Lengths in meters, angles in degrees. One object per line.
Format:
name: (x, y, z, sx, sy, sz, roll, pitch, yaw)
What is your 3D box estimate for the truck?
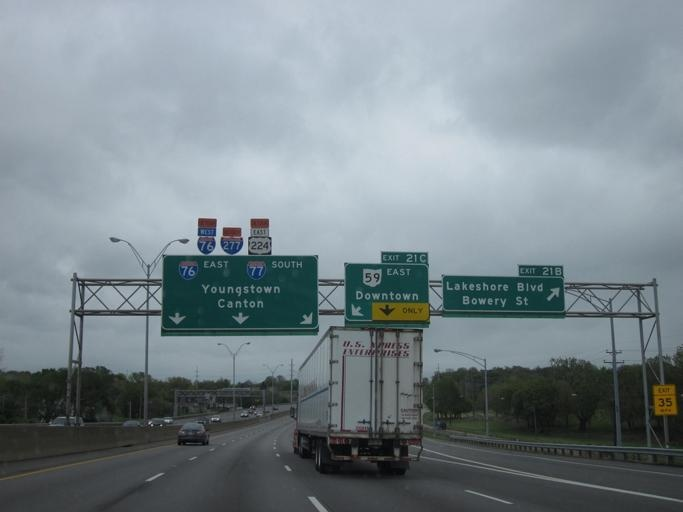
truck: (0.859, 7.102, 41.458, 4.219, 6.407, 10.871, 4, -17, -17)
